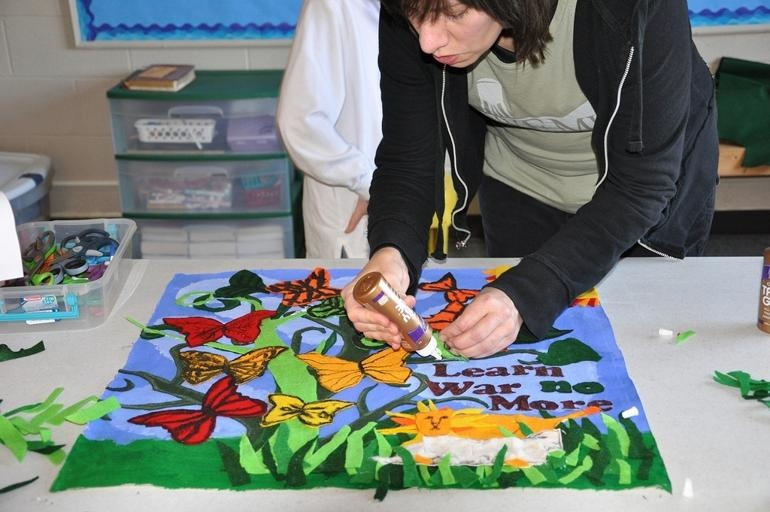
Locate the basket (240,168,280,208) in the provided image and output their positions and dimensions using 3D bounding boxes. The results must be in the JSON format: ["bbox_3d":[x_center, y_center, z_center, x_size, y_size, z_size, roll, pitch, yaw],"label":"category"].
[{"bbox_3d":[-0.462,-0.245,2.387,0.152,0.108,0.062,-1,14,-5],"label":"basket"}]
